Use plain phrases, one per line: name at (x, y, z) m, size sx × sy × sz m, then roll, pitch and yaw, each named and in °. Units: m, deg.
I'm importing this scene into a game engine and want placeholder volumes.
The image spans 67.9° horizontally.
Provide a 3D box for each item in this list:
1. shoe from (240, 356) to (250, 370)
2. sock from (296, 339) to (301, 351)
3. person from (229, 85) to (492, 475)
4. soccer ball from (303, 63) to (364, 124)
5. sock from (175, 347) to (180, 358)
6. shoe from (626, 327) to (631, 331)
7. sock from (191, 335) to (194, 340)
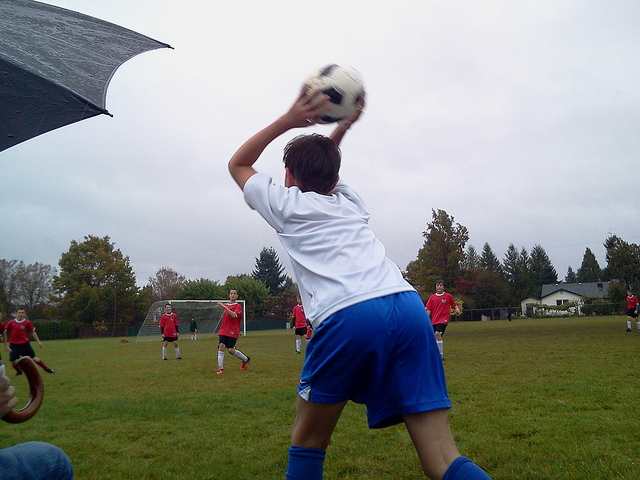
shoe at (-1.935, 3.291, 12.337) m, size 0.189 × 0.502 × 0.172 m, roll 8°, pitch 13°, yaw -11°
sock at (-0.782, 3.812, 17.280) m, size 0.098 × 0.407 × 0.581 m, roll 2°, pitch -9°, yaw -9°
person at (0.169, 0.162, 2.905) m, size 1.333 × 2.401 × 0.394 m, roll -2°, pitch -8°, yaw 18°
soccer ball at (0.143, -1.056, 3.341) m, size 0.391 × 0.509 × 0.408 m, roll -5°, pitch 26°, yaw 3°
sock at (-4.942, 3.909, 16.550) m, size 0.118 × 0.315 × 0.278 m, roll 3°, pitch -9°, yaw -17°
shoe at (13.007, 3.750, 20.055) m, size 0.157 × 0.107 × 0.210 m, roll -4°, pitch -10°, yaw 24°
sock at (-8.110, 6.172, 30.346) m, size 0.085 × 0.277 × 0.108 m, roll -1°, pitch -8°, yaw 6°
